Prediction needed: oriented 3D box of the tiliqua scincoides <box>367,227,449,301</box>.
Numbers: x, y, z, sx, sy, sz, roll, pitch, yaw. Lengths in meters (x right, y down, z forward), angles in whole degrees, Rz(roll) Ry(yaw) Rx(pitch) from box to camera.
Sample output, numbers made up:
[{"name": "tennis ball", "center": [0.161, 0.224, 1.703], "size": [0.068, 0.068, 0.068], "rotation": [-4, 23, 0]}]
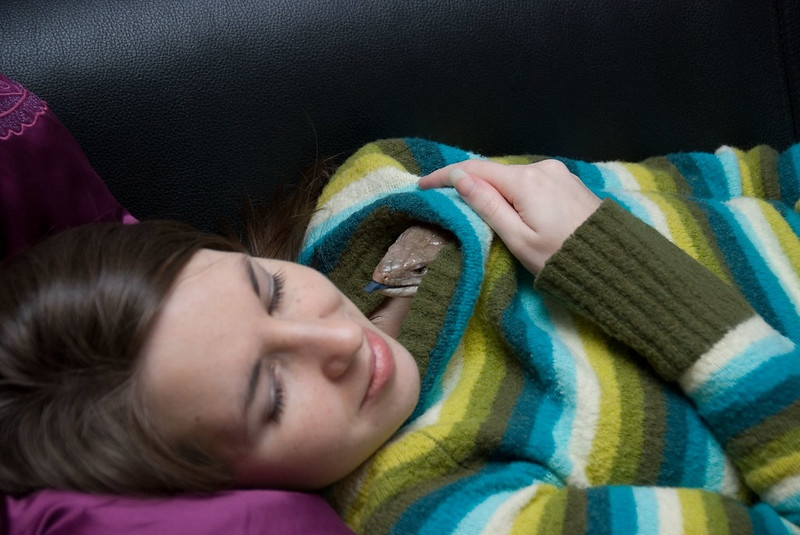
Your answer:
[{"name": "tiliqua scincoides", "center": [0.019, -0.015, 1.259], "size": [0.093, 0.154, 0.052], "rotation": [22, 2, 11]}]
